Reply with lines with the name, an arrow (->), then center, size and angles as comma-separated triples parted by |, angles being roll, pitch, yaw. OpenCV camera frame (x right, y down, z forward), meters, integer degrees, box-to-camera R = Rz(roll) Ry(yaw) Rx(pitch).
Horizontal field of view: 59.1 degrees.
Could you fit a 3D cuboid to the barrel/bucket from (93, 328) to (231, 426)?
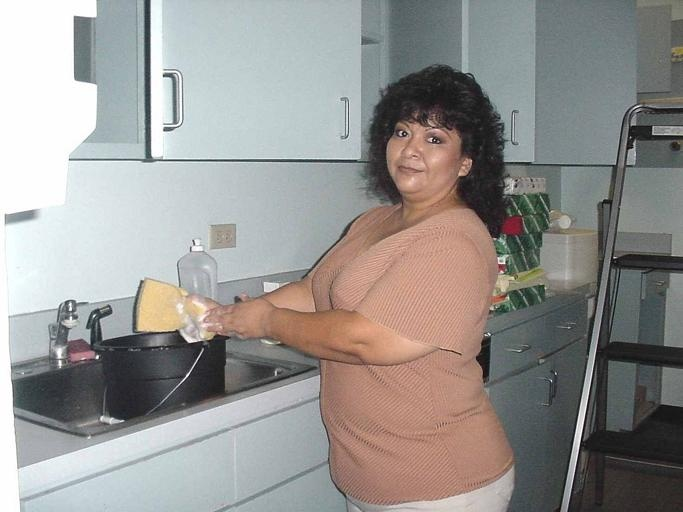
barrel/bucket -> -0.440, 0.268, 1.478 | 0.267, 0.150, 0.260 | -1, -5, 0
